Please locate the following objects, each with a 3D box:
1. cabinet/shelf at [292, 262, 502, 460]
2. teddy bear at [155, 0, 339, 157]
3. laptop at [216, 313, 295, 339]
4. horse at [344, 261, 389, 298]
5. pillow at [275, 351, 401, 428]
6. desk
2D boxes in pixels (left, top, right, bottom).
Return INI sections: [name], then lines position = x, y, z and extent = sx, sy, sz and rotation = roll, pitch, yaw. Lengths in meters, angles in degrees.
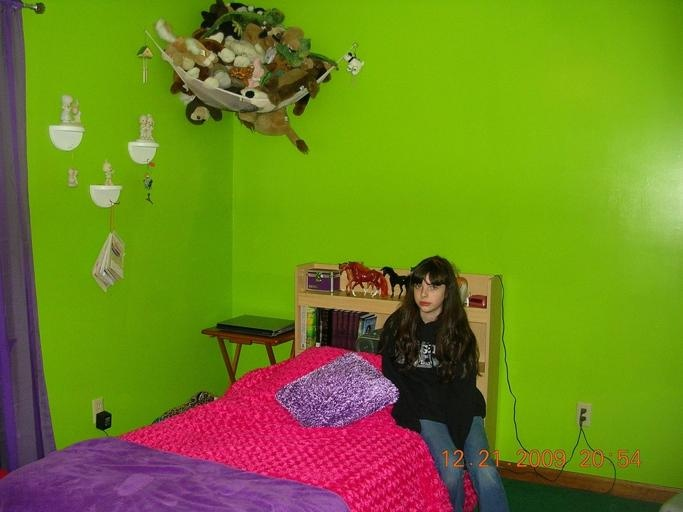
[cabinet/shelf]
position = 0.380, 0.650, 3.531
extent = 1.159, 1.297, 0.409
rotation = 1, -3, 23
[teddy bear]
position = -0.573, -1.165, 3.835
extent = 0.860, 0.938, 1.083
rotation = 2, 25, 2
[laptop]
position = -0.601, 0.509, 4.476
extent = 0.518, 0.082, 0.429
rotation = 9, 16, 21
[horse]
position = 0.162, 0.177, 4.222
extent = 0.345, 0.220, 0.078
rotation = 5, 5, -9
[pillow]
position = -0.004, 0.742, 3.246
extent = 0.396, 0.142, 0.389
rotation = -22, 22, -35
[desk]
position = -0.657, 0.674, 4.411
extent = 0.528, 0.569, 0.504
rotation = 3, -5, 22
